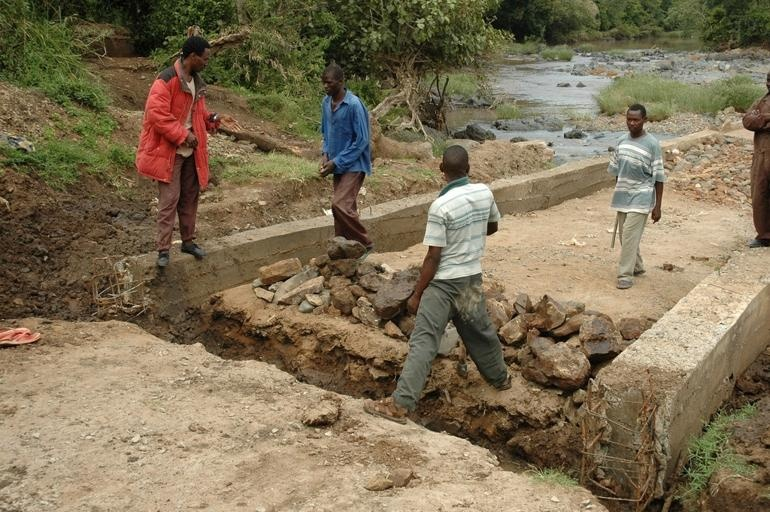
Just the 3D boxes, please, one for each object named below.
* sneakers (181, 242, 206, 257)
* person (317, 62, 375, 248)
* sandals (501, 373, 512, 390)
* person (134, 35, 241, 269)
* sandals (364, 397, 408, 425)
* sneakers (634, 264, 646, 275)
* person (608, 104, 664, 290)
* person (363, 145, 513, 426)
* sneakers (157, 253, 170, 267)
[{"bbox_3d":[-2.382,-0.093,8.418,0.334,0.140,0.136,10,23,14],"label":"sneakers"},{"bbox_3d":[-0.501,-1.175,8.493,0.661,2.342,0.568,-5,21,-1],"label":"person"},{"bbox_3d":[1.323,1.343,7.229,0.166,0.110,0.099,-17,15,-40],"label":"sandals"},{"bbox_3d":[-2.448,-1.180,8.030,1.075,2.634,0.458,-15,23,-25],"label":"person"},{"bbox_3d":[0.034,1.490,6.696,0.433,0.204,0.202,23,12,3],"label":"sandals"},{"bbox_3d":[3.325,0.197,8.799,0.158,0.116,0.110,-22,-10,-37],"label":"sneakers"},{"bbox_3d":[3.151,-0.764,8.486,0.666,2.162,1.095,3,22,19],"label":"person"},{"bbox_3d":[0.583,0.283,6.723,1.544,2.603,0.559,-15,24,-26],"label":"person"},{"bbox_3d":[-2.694,0.053,8.151,0.144,0.131,0.359,-2,4,-20],"label":"sneakers"}]
